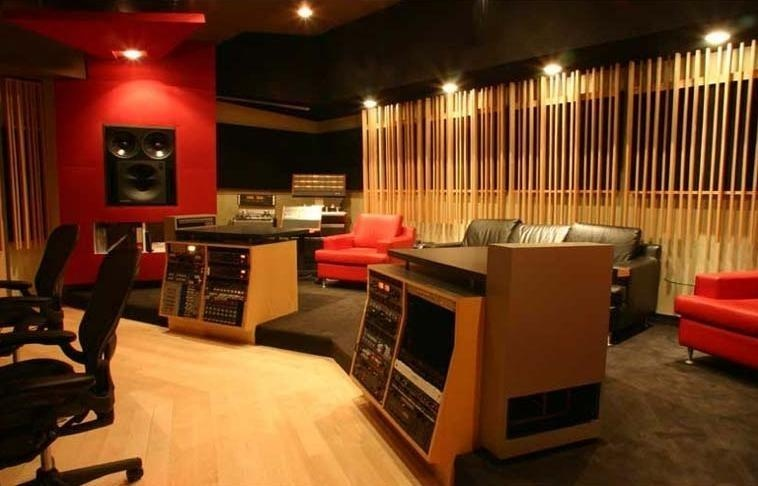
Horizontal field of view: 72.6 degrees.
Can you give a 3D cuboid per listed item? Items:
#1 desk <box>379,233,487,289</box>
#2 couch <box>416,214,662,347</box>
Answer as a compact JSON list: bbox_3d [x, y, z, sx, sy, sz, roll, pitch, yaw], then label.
[{"bbox_3d":[0.479,0.184,4.073,0.728,0.265,1.016,2,3,11],"label":"desk"},{"bbox_3d":[1.968,0.327,6.145,1.234,1.200,2.299,-2,5,-43],"label":"couch"}]
